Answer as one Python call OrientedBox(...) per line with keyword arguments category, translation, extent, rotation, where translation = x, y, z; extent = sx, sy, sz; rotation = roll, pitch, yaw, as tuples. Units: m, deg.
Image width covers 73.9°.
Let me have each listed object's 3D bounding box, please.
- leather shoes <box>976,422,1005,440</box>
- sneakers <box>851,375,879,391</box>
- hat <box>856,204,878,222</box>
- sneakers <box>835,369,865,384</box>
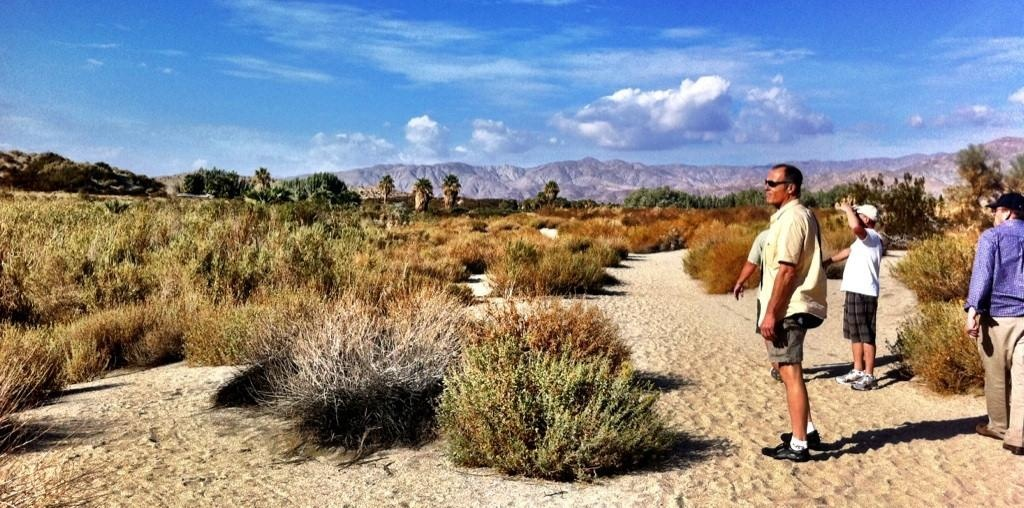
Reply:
OrientedBox(category="leather shoes", translation=(9.109, 3.407, 12.988), extent=(0.192, 0.177, 0.451), rotation=(-14, 25, -26))
OrientedBox(category="sneakers", translation=(7.488, 2.745, 14.449), extent=(0.626, 0.272, 0.253), rotation=(-1, 4, 0))
OrientedBox(category="hat", translation=(7.528, -0.907, 14.542), extent=(0.363, 0.219, 0.523), rotation=(-6, 28, -31))
OrientedBox(category="sneakers", translation=(7.266, 2.631, 14.659), extent=(0.584, 0.254, 0.229), rotation=(-9, 6, 16))
